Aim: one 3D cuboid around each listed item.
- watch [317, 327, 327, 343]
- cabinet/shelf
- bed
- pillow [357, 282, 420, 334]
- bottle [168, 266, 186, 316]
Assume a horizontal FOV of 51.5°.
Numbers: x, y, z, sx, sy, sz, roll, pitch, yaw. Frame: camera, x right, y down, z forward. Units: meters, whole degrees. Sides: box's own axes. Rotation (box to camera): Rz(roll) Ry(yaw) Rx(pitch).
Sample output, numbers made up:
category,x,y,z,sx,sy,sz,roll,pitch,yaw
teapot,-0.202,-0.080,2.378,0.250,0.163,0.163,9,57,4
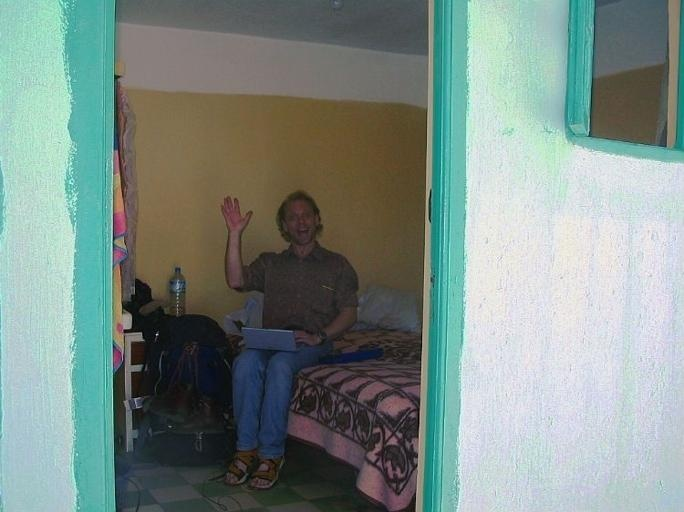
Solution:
category,x,y,z,sx,sy,sz,roll,pitch,yaw
watch,-0.106,0.418,3.797,0.041,0.066,0.058,5,-34,-32
cabinet/shelf,-1.079,0.703,3.651,0.171,0.642,0.530,0,6,-15
bed,-0.116,0.794,3.332,0.680,0.213,0.697,-2,7,-29
pillow,0.338,0.378,5.014,0.438,0.251,0.432,2,6,3
bottle,-1.132,0.238,4.915,0.123,0.324,0.122,1,5,0
